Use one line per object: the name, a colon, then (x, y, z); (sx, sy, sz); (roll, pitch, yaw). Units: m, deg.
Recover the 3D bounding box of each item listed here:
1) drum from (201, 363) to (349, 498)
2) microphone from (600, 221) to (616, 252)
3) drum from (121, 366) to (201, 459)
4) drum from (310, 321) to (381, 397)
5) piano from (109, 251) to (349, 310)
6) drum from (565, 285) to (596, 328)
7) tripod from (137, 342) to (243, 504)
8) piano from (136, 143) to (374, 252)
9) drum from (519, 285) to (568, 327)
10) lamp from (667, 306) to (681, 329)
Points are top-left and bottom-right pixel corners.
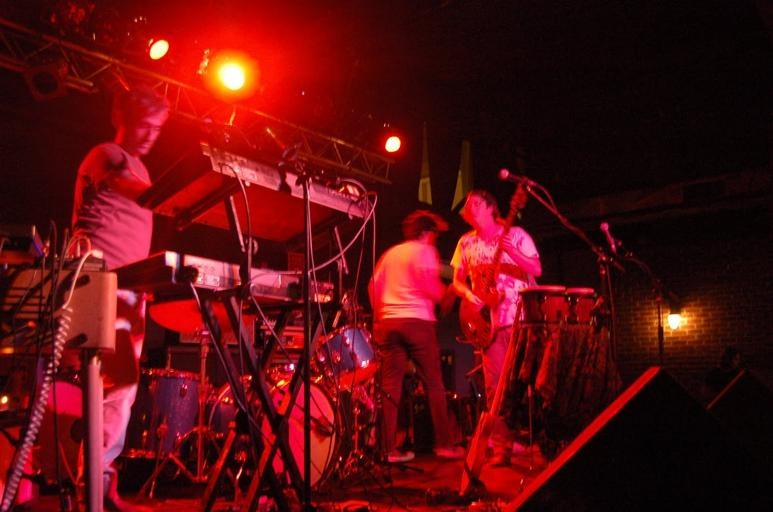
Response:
drum: (-0.925, 1.446, 5.839); (0.885, 1.428, 1.291); (5, -27, 3)
microphone: (3.291, -0.332, 9.677); (0.157, 0.536, 0.176); (-30, 26, -5)
drum: (-1.898, 1.466, 5.976); (0.693, 0.755, 0.731); (1, -11, 33)
drum: (-0.375, 0.899, 5.953); (0.707, 0.616, 0.712); (2, -5, -29)
piano: (-1.102, 0.162, 4.385); (1.435, 0.251, 0.384); (5, -19, -9)
drum: (1.571, 0.387, 5.119); (0.244, 0.284, 0.259); (-6, 2, -34)
tripod: (-1.811, 1.562, 5.973); (0.836, 1.035, 0.935); (-2, -7, -11)
piano: (-0.889, -0.375, 4.659); (1.352, 0.389, 0.932); (12, -24, -40)
drum: (1.229, 0.401, 5.181); (0.412, 0.345, 0.426); (0, 0, 37)
lamp: (4.891, 1.046, 11.064); (0.252, 0.303, 0.410); (-7, -20, 24)
